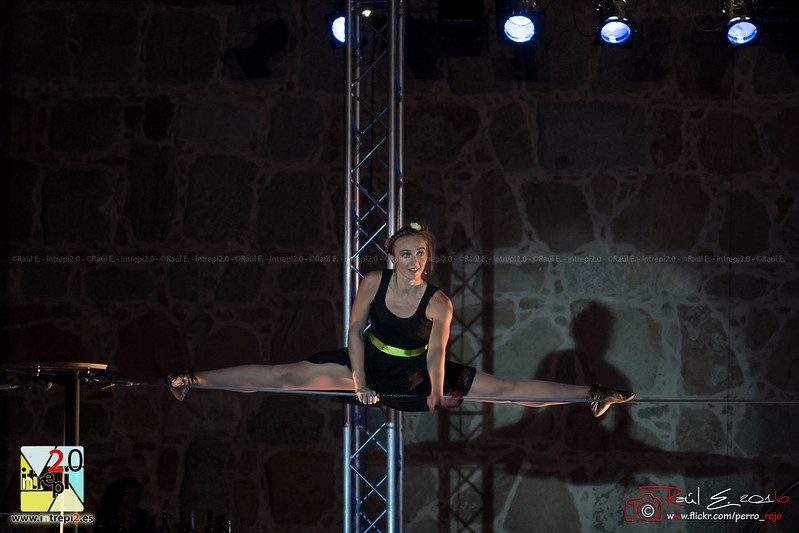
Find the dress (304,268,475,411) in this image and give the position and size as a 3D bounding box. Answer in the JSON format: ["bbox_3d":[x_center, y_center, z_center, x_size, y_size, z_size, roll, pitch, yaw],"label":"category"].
[{"bbox_3d":[-0.020,0.708,10.618,2.117,0.707,1.096,11,-61,-3],"label":"dress"}]

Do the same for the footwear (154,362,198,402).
[{"bbox_3d":[-2.158,1.134,10.802,0.198,0.307,0.364,-24,5,-14],"label":"footwear"}]
